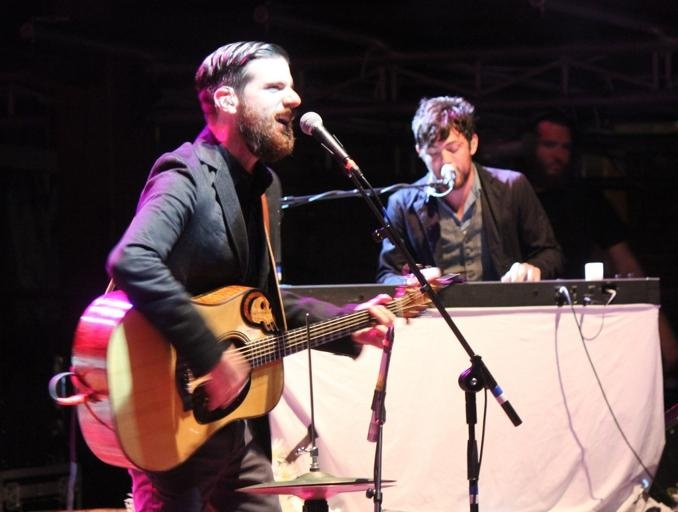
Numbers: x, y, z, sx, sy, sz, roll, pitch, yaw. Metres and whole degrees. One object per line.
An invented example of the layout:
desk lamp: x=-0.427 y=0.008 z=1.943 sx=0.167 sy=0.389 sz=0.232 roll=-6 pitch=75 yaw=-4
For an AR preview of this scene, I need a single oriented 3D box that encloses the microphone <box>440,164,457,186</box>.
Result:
microphone: x=0.783 y=-0.582 z=6.017 sx=0.100 sy=0.144 sz=0.048 roll=-5 pitch=-21 yaw=22
